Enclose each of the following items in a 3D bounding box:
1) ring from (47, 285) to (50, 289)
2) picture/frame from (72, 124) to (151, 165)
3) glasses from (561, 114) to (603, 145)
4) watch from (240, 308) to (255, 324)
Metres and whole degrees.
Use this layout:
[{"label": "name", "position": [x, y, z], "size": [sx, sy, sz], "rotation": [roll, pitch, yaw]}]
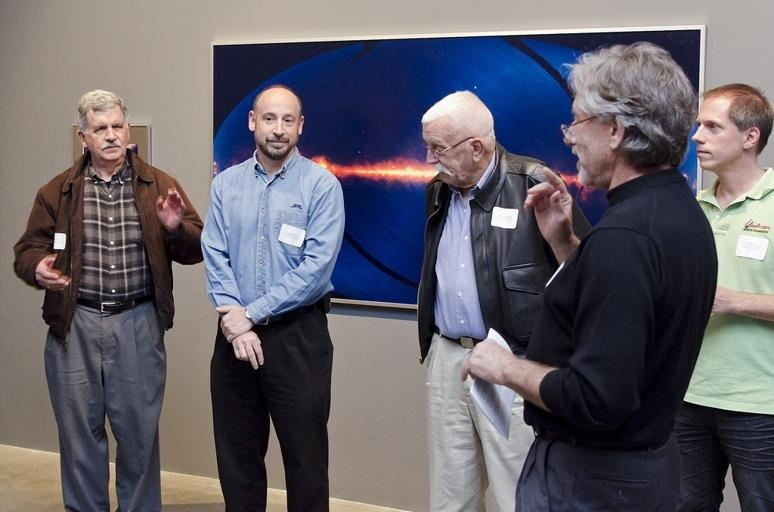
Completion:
[{"label": "ring", "position": [-1.896, 0.171, 3.804], "size": [0.019, 0.020, 0.005], "rotation": [25, 40, 30]}, {"label": "picture/frame", "position": [-1.666, -0.686, 4.166], "size": [0.400, 0.388, 0.056], "rotation": [-1, -1, 3]}, {"label": "glasses", "position": [0.706, -0.464, 2.485], "size": [0.152, 0.050, 0.156], "rotation": [-4, 9, 17]}, {"label": "watch", "position": [-0.727, 0.317, 3.507], "size": [0.056, 0.078, 0.079], "rotation": [-5, 9, -3]}]
